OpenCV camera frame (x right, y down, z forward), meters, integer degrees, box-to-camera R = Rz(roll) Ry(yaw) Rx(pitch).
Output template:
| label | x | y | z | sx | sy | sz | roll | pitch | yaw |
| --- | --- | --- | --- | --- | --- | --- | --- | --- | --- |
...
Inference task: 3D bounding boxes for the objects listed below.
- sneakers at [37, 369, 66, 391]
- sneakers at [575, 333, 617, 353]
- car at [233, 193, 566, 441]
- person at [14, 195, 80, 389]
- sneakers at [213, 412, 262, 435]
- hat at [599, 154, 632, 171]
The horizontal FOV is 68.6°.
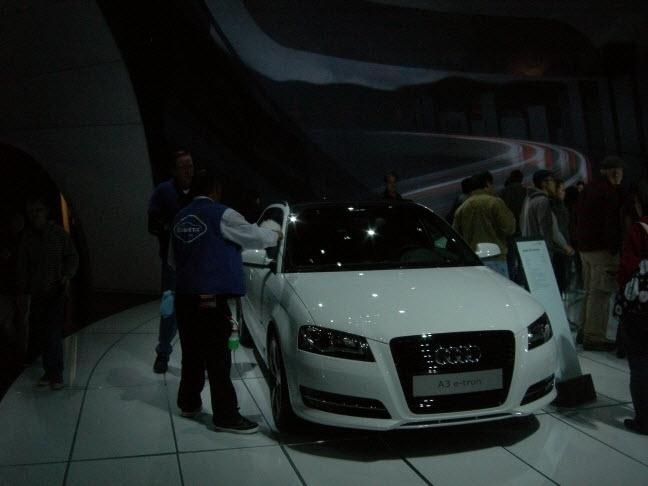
| label | x | y | z | sx | sy | sz | roll | pitch | yaw |
| --- | --- | --- | --- | --- | --- | --- | --- | --- | --- |
| sneakers | -2.449 | 1.220 | 4.277 | 0.270 | 0.215 | 0.106 | 9 | 5 | 4 |
| sneakers | 2.879 | 1.086 | 5.095 | 0.444 | 0.217 | 0.177 | -1 | 7 | 9 |
| car | 0.383 | 0.340 | 3.517 | 1.311 | 1.043 | 2.469 | -2 | 7 | -14 |
| person | -2.481 | 0.434 | 4.315 | 0.486 | 1.655 | 0.359 | 4 | 7 | 37 |
| sneakers | -0.624 | 1.308 | 3.483 | 0.333 | 0.150 | 0.136 | 2 | 0 | 5 |
| hat | 2.983 | -0.826 | 4.902 | 0.197 | 0.138 | 0.180 | -5 | 7 | -36 |
